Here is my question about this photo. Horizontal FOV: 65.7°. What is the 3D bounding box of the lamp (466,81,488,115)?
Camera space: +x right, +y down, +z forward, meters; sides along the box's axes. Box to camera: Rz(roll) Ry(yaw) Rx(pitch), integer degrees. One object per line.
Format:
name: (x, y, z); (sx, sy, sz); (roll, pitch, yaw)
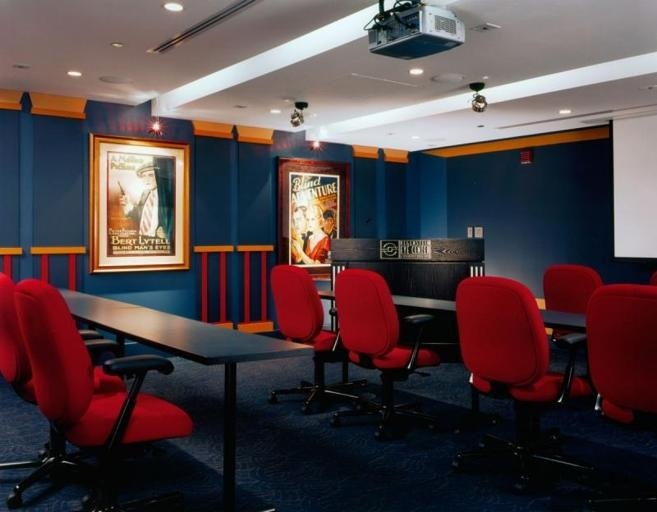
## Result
lamp: (1.627, -1.698, 5.515); (0.194, 0.366, 0.707); (1, 2, 18)
